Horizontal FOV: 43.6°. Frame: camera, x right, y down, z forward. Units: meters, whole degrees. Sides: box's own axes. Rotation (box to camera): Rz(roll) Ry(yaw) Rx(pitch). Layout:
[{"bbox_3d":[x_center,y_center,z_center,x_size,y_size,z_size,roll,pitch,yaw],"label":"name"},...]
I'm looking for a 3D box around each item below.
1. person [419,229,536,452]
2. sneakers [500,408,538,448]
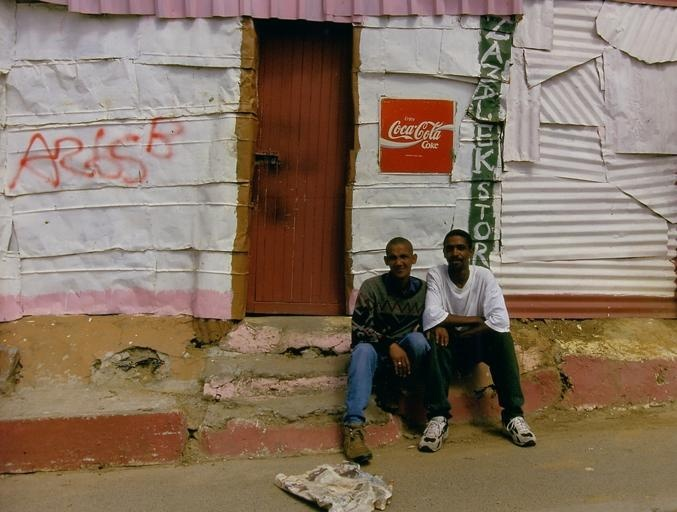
[{"bbox_3d":[1.094,0.663,6.971,0.875,1.730,0.740,-1,8,5],"label":"person"},{"bbox_3d":[1.470,1.415,6.868,0.159,0.134,0.320,-8,5,-12],"label":"sneakers"}]
